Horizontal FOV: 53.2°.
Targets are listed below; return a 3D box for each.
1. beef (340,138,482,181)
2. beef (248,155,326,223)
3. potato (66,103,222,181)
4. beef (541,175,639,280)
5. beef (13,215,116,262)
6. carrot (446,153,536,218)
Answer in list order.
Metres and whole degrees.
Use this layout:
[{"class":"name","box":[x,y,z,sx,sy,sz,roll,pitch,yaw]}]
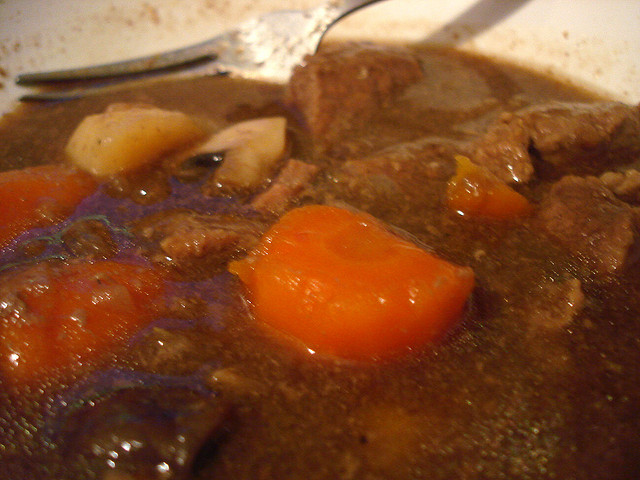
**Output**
[{"class":"beef","box":[0.308,-0.255,2.001,0.587,0.049,0.130,-7,57,-6]},{"class":"beef","box":[-0.091,-0.147,1.911,0.158,0.059,0.251,30,60,16]},{"class":"potato","box":[-0.529,-0.302,1.958,0.413,0.084,0.253,-13,41,-26]},{"class":"beef","box":[0.803,-0.049,1.854,0.283,0.058,0.373,-19,53,-14]},{"class":"beef","box":[-0.687,0.006,1.730,0.241,0.035,0.106,-6,47,-12]},{"class":"carrot","box":[0.480,-0.137,1.892,0.291,0.090,0.181,29,59,22]}]
